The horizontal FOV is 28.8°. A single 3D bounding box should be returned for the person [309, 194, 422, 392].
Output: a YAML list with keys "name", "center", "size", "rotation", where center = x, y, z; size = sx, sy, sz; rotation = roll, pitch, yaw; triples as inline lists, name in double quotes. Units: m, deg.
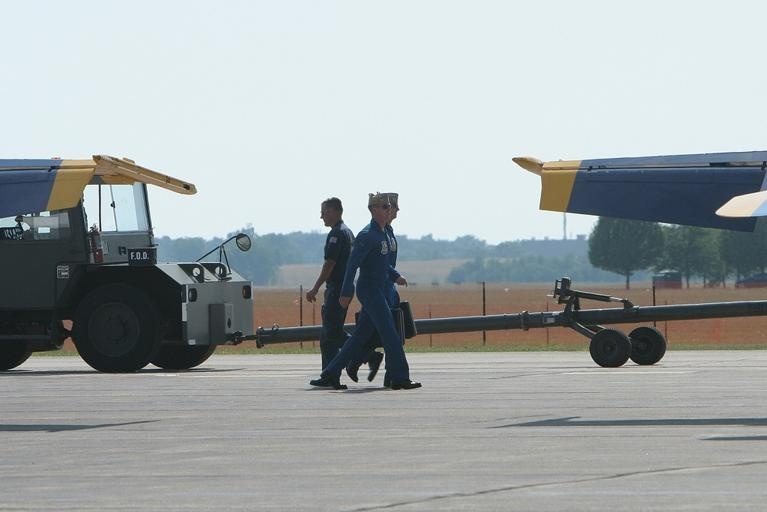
- name: "person"
  center: [-0.117, 0.445, 18.216]
  size: [1.175, 2.430, 0.647]
  rotation: [2, 3, 0]

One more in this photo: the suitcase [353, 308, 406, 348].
- name: "suitcase"
  center: [0.079, 0.920, 18.476]
  size: [0.651, 0.470, 0.497]
  rotation: [3, 6, 29]

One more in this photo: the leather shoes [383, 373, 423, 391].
- name: "leather shoes"
  center: [0.228, 1.556, 18.234]
  size: [0.503, 0.204, 0.167]
  rotation: [0, -1, -4]

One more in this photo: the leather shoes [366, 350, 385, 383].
- name: "leather shoes"
  center: [-0.115, 1.418, 18.706]
  size: [0.210, 0.480, 0.165]
  rotation: [-5, 26, -29]
